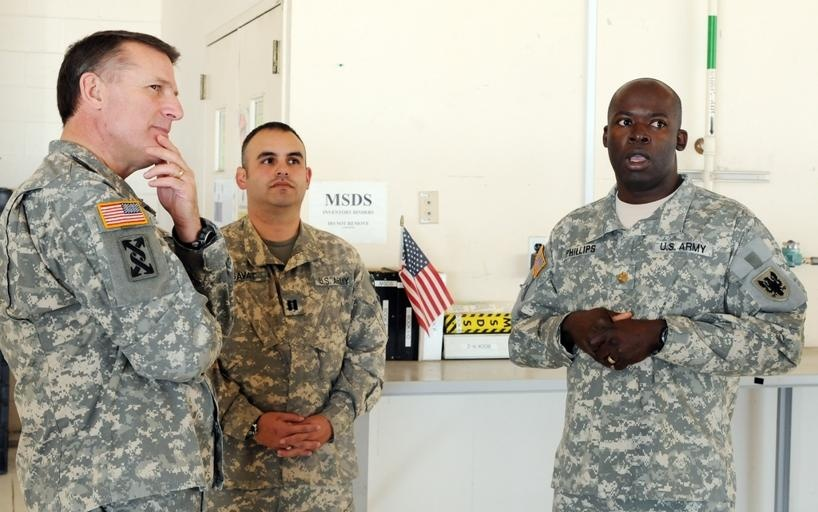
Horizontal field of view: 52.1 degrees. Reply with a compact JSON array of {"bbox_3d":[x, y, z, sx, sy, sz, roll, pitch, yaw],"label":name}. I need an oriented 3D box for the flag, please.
[{"bbox_3d":[0.077,0.110,3.886,0.240,0.496,0.193,-1,8,7],"label":"flag"}]

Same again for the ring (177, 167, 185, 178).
[{"bbox_3d":[-0.727,-0.266,2.664,0.035,0.032,0.010,2,-2,-27],"label":"ring"}]

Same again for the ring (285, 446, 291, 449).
[{"bbox_3d":[-0.442,0.708,3.084,0.010,0.004,0.015,17,-39,-18],"label":"ring"}]

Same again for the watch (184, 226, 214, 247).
[{"bbox_3d":[-0.678,-0.057,2.753,0.111,0.038,0.045,-29,-3,-6],"label":"watch"}]

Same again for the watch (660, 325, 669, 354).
[{"bbox_3d":[0.847,0.272,2.792,0.042,0.102,0.028,-5,8,-21],"label":"watch"}]

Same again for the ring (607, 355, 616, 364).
[{"bbox_3d":[0.679,0.346,2.810,0.021,0.022,0.026,-1,-15,-8],"label":"ring"}]

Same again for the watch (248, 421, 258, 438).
[{"bbox_3d":[-0.577,0.646,3.102,0.020,0.058,0.046,16,5,29],"label":"watch"}]
